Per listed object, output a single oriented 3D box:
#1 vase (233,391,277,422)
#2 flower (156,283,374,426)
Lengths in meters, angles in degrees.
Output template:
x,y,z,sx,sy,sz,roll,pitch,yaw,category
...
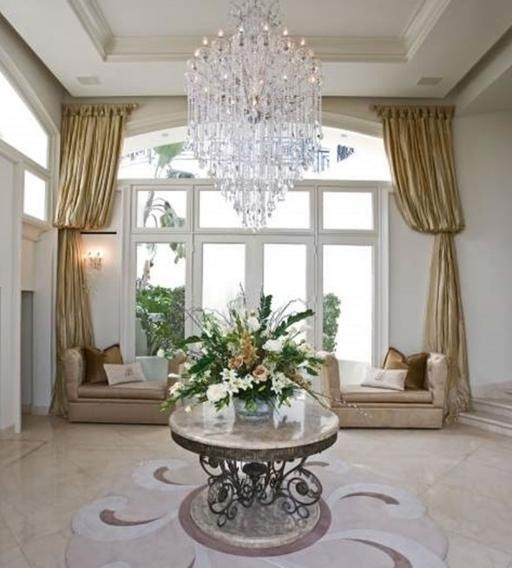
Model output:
x,y,z,sx,sy,sz,roll,pitch,yaw,category
-0.024,0.775,2.872,0.188,0.152,0.220,0,0,7,vase
-0.068,0.499,3.031,0.885,0.746,0.888,-15,20,4,flower
